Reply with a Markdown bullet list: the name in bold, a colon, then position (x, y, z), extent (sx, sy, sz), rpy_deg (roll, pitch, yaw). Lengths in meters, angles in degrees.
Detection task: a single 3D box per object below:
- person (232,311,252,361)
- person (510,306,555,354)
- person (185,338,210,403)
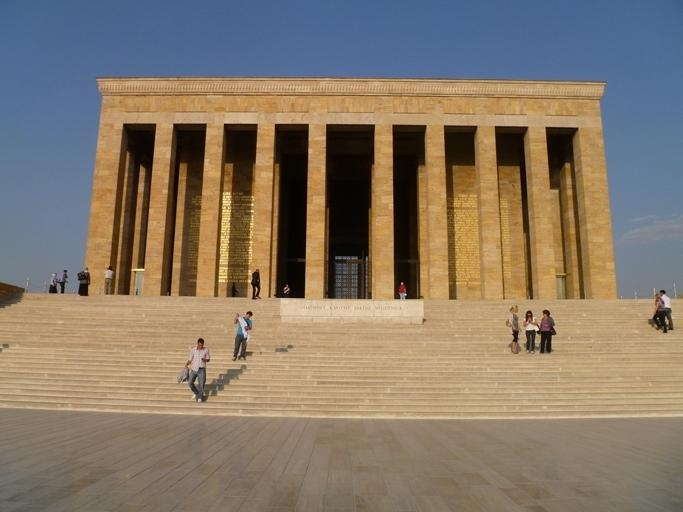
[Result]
- **person**: position (-2.496, 1.944, 12.631), extent (0.456, 1.141, 0.840), rpy_deg (1, 4, -12)
- **person**: position (5.250, 2.062, 13.968), extent (1.150, 1.070, 0.460), rpy_deg (-1, -3, 36)
- **person**: position (-3.107, 2.373, 10.817), extent (0.431, 1.326, 0.571), rpy_deg (1, 4, -17)
